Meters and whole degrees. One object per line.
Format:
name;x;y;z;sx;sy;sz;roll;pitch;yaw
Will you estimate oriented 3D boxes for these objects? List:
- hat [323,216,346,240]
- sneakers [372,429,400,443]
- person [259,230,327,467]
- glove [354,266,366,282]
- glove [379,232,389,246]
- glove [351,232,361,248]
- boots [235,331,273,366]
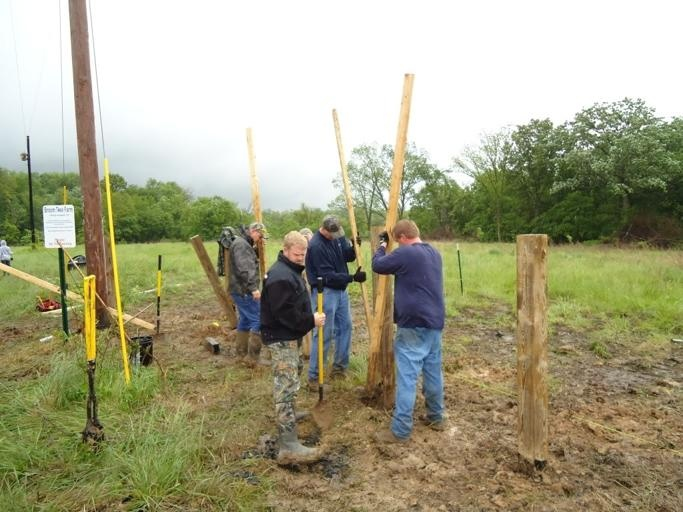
hat;-0.128;-0.434;8.950;0.262;0.364;0.204;-27;-5;-23
sneakers;0.618;2.452;7.656;0.348;0.168;0.147;7;-1;14
person;-0.672;1.191;7.444;0.777;3.008;0.536;0;4;-9
glove;0.282;0.284;8.587;0.184;0.271;0.406;1;4;1
glove;0.609;-0.242;8.126;0.144;0.188;0.176;-2;9;2
glove;0.229;-0.258;8.901;0.119;0.265;0.388;0;4;-1
boots;-1.586;1.636;9.959;0.651;0.852;0.467;-3;6;-16
